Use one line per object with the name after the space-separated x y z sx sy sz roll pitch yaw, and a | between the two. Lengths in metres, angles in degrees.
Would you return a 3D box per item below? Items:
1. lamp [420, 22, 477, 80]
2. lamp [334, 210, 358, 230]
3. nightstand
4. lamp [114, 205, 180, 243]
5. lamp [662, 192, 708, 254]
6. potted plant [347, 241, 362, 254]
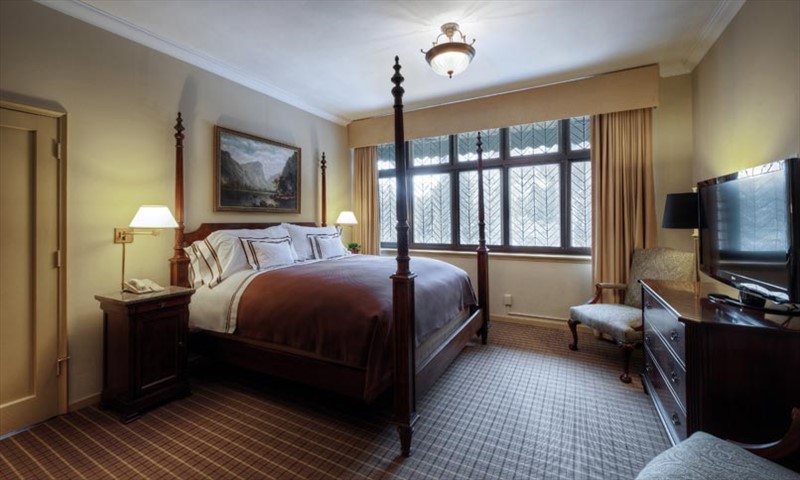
0.589 -2.269 5.695 0.567 0.558 0.562 -2 -3 -5 | lamp
-0.877 -0.324 7.829 0.318 0.282 0.318 -3 4 -24 | lamp
-2.800 1.197 5.341 0.694 1.254 0.812 3 3 29 | nightstand
-2.898 -0.152 5.488 0.755 0.500 0.488 4 9 20 | lamp
3.271 -0.195 5.663 0.588 0.954 0.622 3 0 31 | lamp
-0.747 0.136 7.976 0.180 0.179 0.181 -2 4 -20 | potted plant
